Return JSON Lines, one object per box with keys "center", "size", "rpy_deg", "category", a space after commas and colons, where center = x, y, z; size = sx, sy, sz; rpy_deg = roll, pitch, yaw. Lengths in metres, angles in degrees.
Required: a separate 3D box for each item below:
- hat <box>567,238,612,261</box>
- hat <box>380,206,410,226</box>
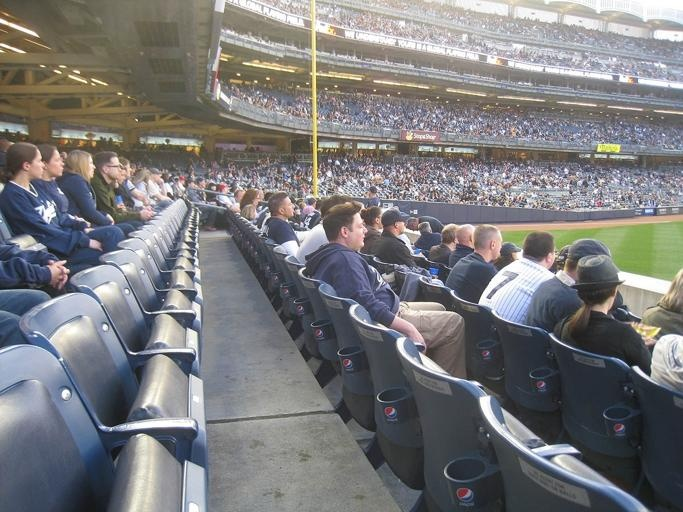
{"center": [1.607, -0.046, 3.424], "size": [0.241, 0.129, 0.179], "rpy_deg": [-11, 11, -36], "category": "hat"}
{"center": [0.559, -0.396, 5.492], "size": [0.254, 0.161, 0.161], "rpy_deg": [-21, 27, -34], "category": "hat"}
